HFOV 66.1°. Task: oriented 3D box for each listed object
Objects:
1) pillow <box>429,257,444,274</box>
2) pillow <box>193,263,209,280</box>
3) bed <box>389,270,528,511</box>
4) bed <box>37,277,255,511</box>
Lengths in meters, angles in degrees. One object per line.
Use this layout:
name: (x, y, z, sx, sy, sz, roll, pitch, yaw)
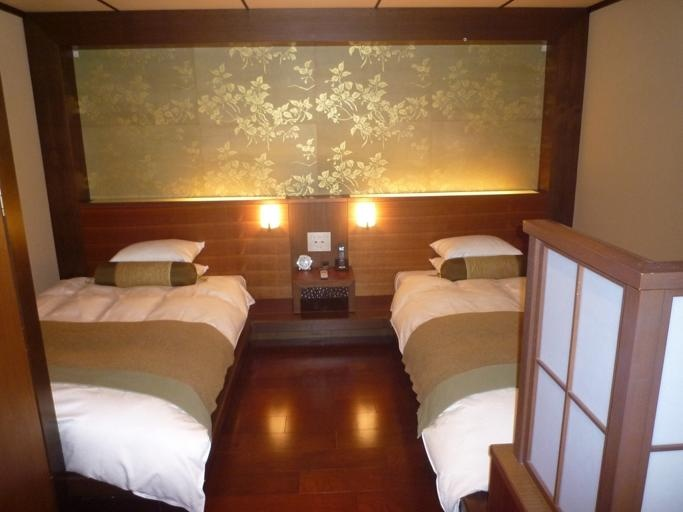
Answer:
pillow: (0.777, 0.070, 4.264, 0.031, 0.105, 0.110, -14, -26, -9)
pillow: (-1.141, 0.113, 4.240, 0.108, 0.128, 0.039, 20, -38, -12)
bed: (0.686, 0.703, 3.100, 0.734, 1.227, 0.313, -1, -61, 3)
bed: (-1.277, 0.548, 3.523, 1.245, 2.263, 0.606, 14, -77, -7)
